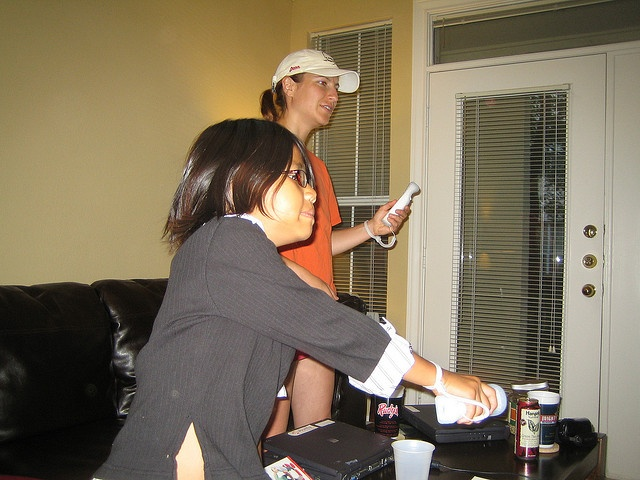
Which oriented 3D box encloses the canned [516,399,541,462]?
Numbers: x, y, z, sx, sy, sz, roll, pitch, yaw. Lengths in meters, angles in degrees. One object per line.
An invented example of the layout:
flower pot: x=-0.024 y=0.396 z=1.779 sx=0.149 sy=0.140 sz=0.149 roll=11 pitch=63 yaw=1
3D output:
canned: x=0.726 y=0.655 z=1.749 sx=0.092 sy=0.207 sz=0.083 roll=2 pitch=-2 yaw=7

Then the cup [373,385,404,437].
cup: x=0.271 y=0.698 z=2.040 sx=0.163 sy=0.204 sz=0.139 roll=1 pitch=-13 yaw=8

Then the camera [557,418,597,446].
camera: x=0.944 y=0.695 z=1.866 sx=0.086 sy=0.058 sz=0.118 roll=-1 pitch=-6 yaw=16
